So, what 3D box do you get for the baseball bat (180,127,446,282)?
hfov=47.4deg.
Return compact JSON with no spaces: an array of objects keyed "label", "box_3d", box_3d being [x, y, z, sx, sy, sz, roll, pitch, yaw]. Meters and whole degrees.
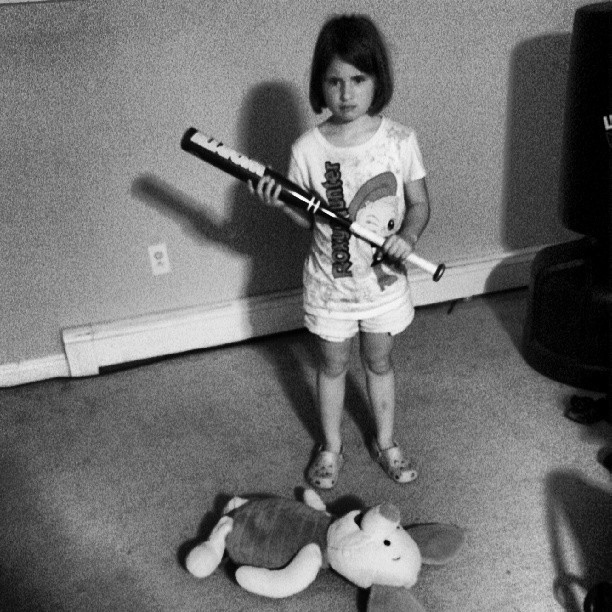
[{"label":"baseball bat","box_3d":[-0.018,-0.236,1.583,0.627,0.083,0.070,39,-5,-3]}]
